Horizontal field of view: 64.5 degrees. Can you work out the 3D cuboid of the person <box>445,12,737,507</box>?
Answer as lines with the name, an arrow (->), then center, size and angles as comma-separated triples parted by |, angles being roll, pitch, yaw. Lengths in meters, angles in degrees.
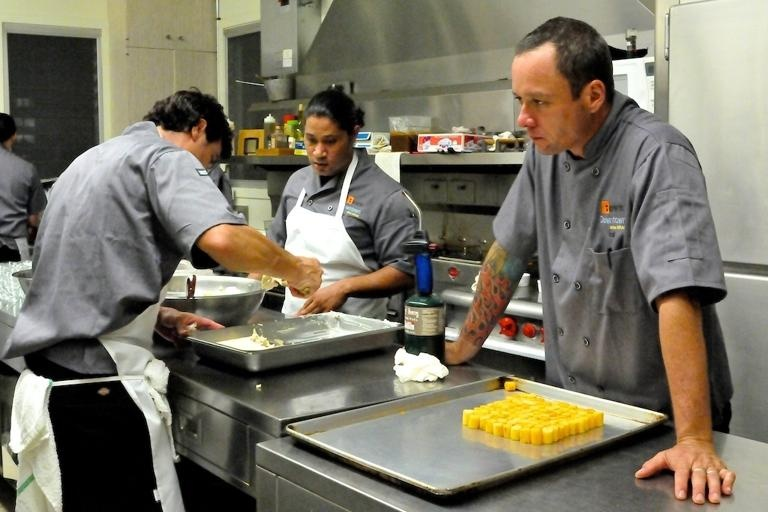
person -> 0.640, -0.065, 1.697 | 0.495, 1.189, 0.960 | -8, 16, -27

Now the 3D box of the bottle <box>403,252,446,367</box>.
bottle -> 0.134, 0.169, 1.974 | 0.138, 0.395, 0.112 | 0, 14, 3
